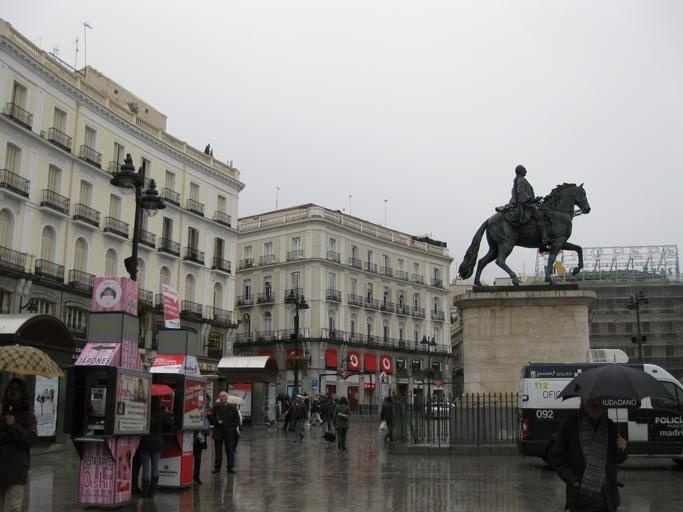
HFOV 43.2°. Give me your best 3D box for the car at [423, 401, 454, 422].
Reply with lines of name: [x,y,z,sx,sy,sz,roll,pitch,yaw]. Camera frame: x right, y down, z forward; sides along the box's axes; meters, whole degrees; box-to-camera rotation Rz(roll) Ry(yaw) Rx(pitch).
car: [3.304,5.146,28.899,0.872,0.730,2.676,0,-14,6]

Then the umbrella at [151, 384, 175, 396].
umbrella: [-4.282,3.170,20.517,0.303,0.301,0.613,-7,-17,32]

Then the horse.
horse: [6.445,-0.664,29.809,4.865,3.734,1.249,-1,-8,-4]

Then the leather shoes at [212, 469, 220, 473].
leather shoes: [-3.347,5.746,23.181,0.168,0.124,0.352,5,-15,-12]
